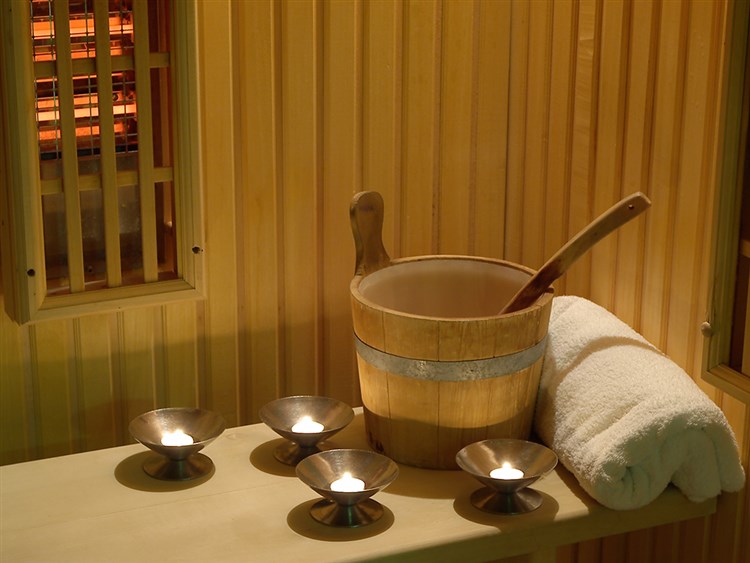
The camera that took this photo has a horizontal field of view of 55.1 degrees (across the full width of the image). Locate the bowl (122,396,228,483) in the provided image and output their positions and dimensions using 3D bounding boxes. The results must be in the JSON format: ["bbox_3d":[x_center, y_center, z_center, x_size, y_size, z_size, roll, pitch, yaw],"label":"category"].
[{"bbox_3d":[-0.364,0.285,1.312,0.132,0.071,0.135,3,14,-1],"label":"bowl"}]

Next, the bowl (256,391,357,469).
[{"bbox_3d":[-0.131,0.259,1.357,0.131,0.067,0.133,3,22,-1],"label":"bowl"}]

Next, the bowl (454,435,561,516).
[{"bbox_3d":[0.223,0.320,1.200,0.158,0.073,0.159,-5,12,1],"label":"bowl"}]
